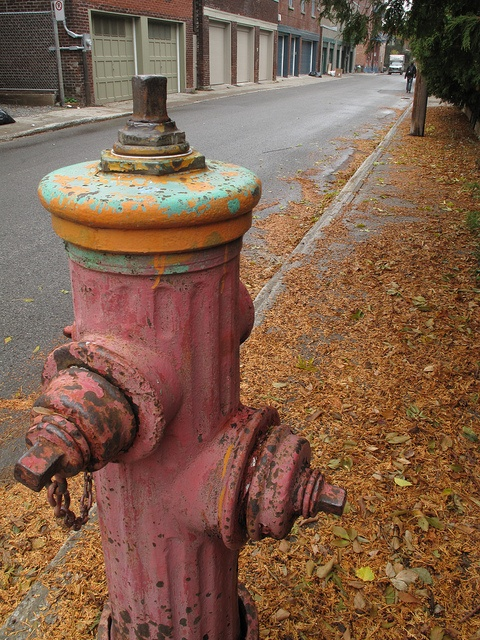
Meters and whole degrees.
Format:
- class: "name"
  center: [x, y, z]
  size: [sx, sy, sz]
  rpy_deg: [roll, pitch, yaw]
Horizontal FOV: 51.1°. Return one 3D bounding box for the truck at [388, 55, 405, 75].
- class: "truck"
  center: [22.350, -35.722, 70.415]
  size: [2.311, 2.643, 4.610]
  rpy_deg: [5, 32, 13]
